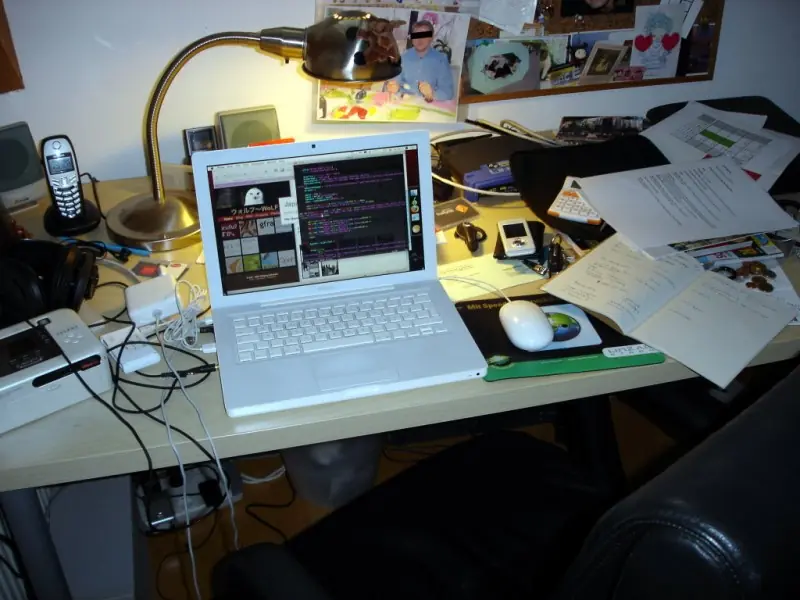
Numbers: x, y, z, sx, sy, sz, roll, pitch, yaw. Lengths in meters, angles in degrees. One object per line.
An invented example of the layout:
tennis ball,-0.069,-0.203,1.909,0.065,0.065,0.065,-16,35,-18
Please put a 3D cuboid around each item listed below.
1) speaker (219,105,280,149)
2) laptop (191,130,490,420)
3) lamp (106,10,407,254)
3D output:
speaker,-0.367,-0.388,1.360,0.151,0.117,0.080,-24,37,-36
laptop,-0.105,-0.055,0.962,0.470,0.271,0.410,-15,41,-20
lamp,-0.336,-0.349,1.420,0.684,0.682,0.378,-7,39,-10
